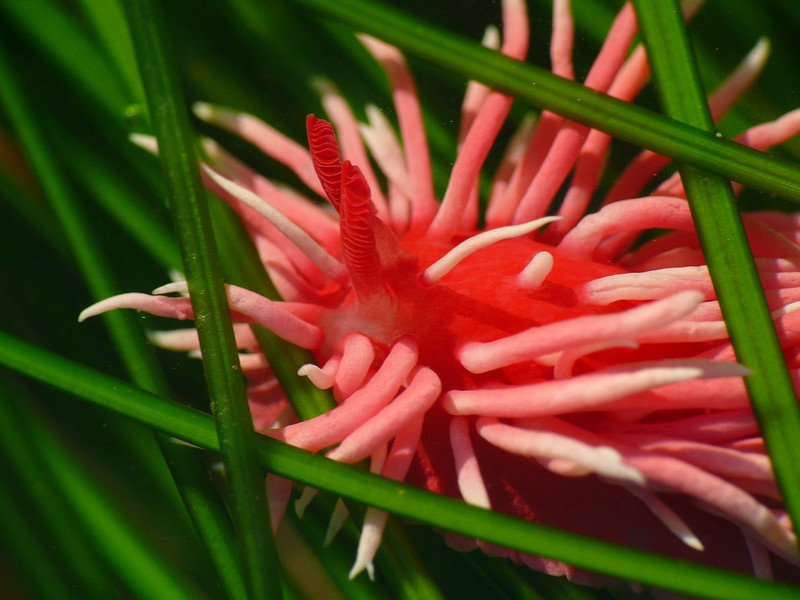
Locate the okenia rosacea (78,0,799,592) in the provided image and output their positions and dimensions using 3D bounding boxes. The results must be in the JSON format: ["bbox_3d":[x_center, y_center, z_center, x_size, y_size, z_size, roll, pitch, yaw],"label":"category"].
[{"bbox_3d":[0.091,0.035,0.905,0.560,0.521,0.227,12,-18,20],"label":"okenia rosacea"}]
